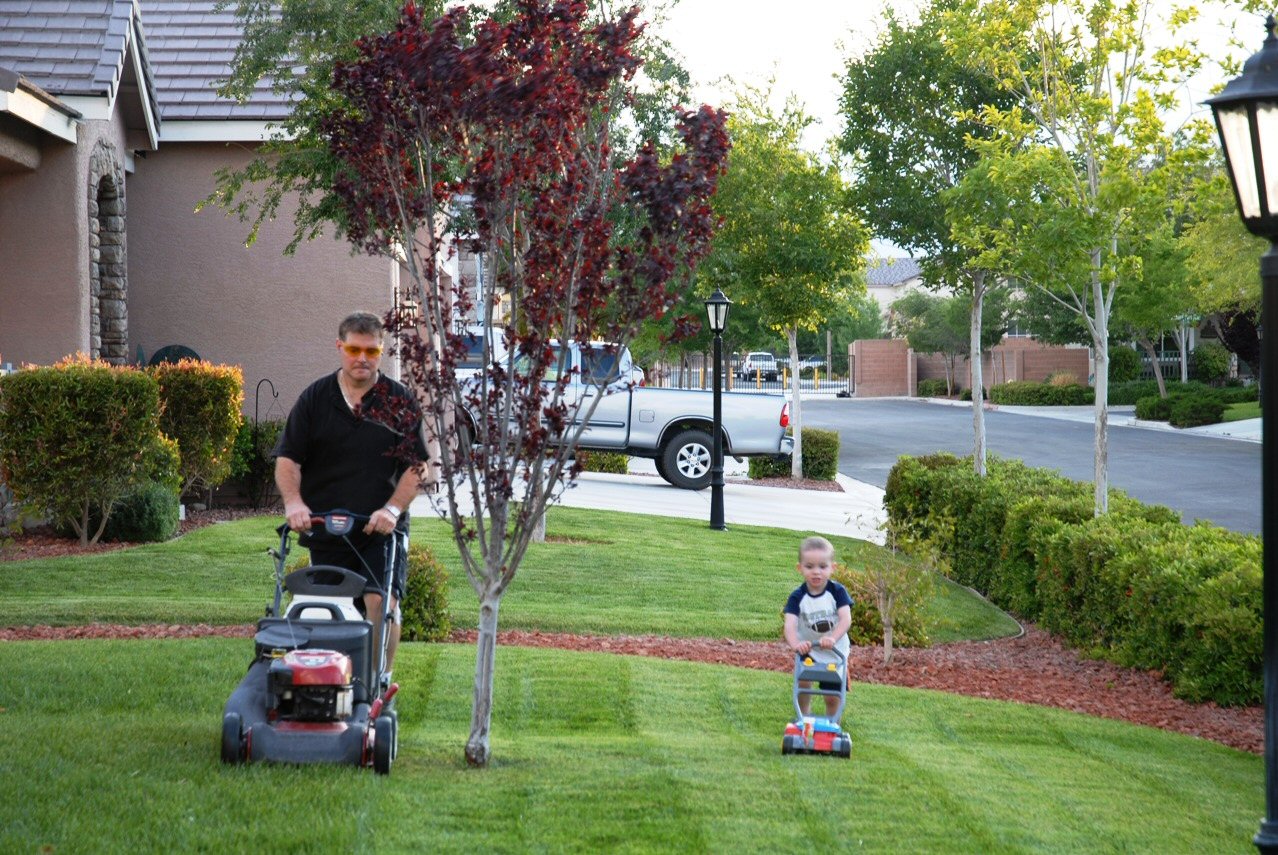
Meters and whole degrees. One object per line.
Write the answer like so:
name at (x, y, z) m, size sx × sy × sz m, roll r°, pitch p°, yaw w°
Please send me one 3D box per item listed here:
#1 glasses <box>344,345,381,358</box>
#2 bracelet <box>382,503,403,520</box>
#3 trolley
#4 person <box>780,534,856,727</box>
glasses at (-1.945, -0.539, 9.599) m, size 0.271 × 0.063 × 0.118 m, roll 3°, pitch -3°, yaw -31°
bracelet at (-1.720, 0.579, 9.513) m, size 0.121 × 0.079 × 0.119 m, roll 41°, pitch -36°, yaw 1°
trolley at (-2.221, 1.447, 9.314) m, size 1.156 × 1.276 × 0.730 m, roll 1°, pitch -1°, yaw -11°
person at (1.377, 1.543, 10.446) m, size 0.483 × 1.419 × 0.473 m, roll 1°, pitch -1°, yaw 8°
